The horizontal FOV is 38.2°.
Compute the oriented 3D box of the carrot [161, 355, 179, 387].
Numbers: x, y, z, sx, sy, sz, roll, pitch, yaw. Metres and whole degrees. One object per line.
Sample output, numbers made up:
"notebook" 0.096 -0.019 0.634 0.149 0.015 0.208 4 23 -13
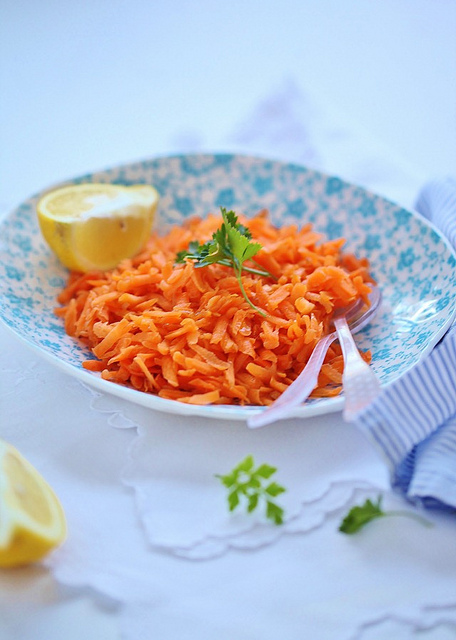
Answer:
"carrot" -0.085 0.077 0.985 0.024 0.009 0.054 -21 40 -7

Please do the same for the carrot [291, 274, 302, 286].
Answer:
"carrot" 0.113 -0.066 1.102 0.016 0.006 0.018 -14 50 31

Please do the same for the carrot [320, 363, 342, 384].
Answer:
"carrot" 0.158 0.080 0.997 0.019 0.009 0.034 -24 39 -9

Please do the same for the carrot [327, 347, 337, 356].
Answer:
"carrot" 0.164 0.051 1.047 0.016 0.020 0.007 2 83 6

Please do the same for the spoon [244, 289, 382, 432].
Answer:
"spoon" 0.148 0.042 0.992 0.057 0.037 0.480 -10 16 33

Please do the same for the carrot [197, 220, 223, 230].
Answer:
"carrot" -0.038 -0.183 1.270 0.035 0.009 0.031 -6 20 10

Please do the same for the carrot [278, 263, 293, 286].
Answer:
"carrot" 0.099 -0.076 1.123 0.015 0.014 0.051 18 54 11

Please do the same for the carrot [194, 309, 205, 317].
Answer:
"carrot" -0.044 -0.011 1.044 0.006 0.005 0.023 41 38 2

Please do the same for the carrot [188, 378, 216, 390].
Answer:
"carrot" -0.036 0.094 0.972 0.031 0.006 0.010 16 10 0

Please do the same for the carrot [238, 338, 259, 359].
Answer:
"carrot" 0.030 0.044 1.010 0.031 0.009 0.029 -9 50 -36

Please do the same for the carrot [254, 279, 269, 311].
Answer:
"carrot" 0.052 -0.040 1.067 0.013 0.044 0.039 -25 58 23

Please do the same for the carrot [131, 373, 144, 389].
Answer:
"carrot" -0.140 0.095 1.003 0.023 0.007 0.019 11 52 2

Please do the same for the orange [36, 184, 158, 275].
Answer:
"orange" -0.282 -0.185 1.324 0.185 0.127 0.253 28 38 20

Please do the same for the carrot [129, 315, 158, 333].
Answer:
"carrot" -0.131 0.006 1.030 0.014 0.034 0.020 -30 57 28

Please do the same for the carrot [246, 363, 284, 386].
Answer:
"carrot" 0.054 0.079 1.009 0.047 0.035 0.015 22 86 33

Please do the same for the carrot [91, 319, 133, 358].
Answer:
"carrot" -0.182 0.034 1.068 0.091 0.017 0.030 -44 70 17

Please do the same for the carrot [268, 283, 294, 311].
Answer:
"carrot" 0.084 -0.039 1.074 0.054 0.012 0.031 -40 28 -25

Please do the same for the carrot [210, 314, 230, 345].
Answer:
"carrot" -0.015 0.016 1.021 0.017 0.008 0.056 10 35 8

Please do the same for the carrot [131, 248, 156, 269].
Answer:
"carrot" -0.162 -0.116 1.256 0.046 0.041 0.009 -23 93 1

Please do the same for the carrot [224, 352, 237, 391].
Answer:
"carrot" 0.004 0.079 0.978 0.015 0.009 0.050 24 30 -12

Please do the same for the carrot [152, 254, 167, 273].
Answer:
"carrot" -0.123 -0.100 1.184 0.016 0.015 0.061 -17 22 -3

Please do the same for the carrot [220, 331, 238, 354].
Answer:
"carrot" 0.003 0.035 1.003 0.022 0.012 0.028 -14 74 -10

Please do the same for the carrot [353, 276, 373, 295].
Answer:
"carrot" 0.229 -0.057 1.136 0.034 0.014 0.030 -13 74 -59

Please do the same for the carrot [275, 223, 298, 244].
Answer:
"carrot" 0.115 -0.167 1.288 0.026 0.020 0.087 30 33 7

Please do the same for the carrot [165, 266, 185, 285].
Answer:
"carrot" -0.089 -0.071 1.093 0.030 0.009 0.028 -23 26 46

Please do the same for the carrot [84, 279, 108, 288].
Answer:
"carrot" -0.239 -0.067 1.189 0.027 0.007 0.026 9 11 44

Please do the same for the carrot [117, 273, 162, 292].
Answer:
"carrot" -0.146 -0.062 1.117 0.068 0.015 0.017 -17 86 -6

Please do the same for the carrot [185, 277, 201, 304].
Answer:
"carrot" -0.056 -0.049 1.081 0.029 0.011 0.037 -12 79 10

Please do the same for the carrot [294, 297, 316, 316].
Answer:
"carrot" 0.120 -0.022 1.051 0.027 0.012 0.027 -17 53 29

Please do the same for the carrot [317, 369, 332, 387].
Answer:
"carrot" 0.148 0.089 1.006 0.020 0.008 0.026 -21 77 4

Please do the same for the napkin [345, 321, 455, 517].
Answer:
"napkin" 0.230 0.142 0.840 0.169 0.216 0.177 10 43 9

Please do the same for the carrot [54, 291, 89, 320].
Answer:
"carrot" -0.280 -0.024 1.169 0.058 0.017 0.049 -4 57 15

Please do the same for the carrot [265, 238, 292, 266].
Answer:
"carrot" 0.095 -0.125 1.191 0.049 0.020 0.047 33 61 15

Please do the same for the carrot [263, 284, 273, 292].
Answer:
"carrot" 0.066 -0.053 1.106 0.014 0.003 0.012 -13 40 -34

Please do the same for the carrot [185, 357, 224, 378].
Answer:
"carrot" -0.035 0.071 0.980 0.056 0.032 0.023 0 42 -2

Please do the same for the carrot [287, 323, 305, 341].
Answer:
"carrot" 0.103 0.020 1.022 0.027 0.009 0.022 3 71 -3

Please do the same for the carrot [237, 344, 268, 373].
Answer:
"carrot" 0.038 0.062 1.022 0.012 0.029 0.044 38 92 22

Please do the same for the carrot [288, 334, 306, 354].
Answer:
"carrot" 0.106 0.039 1.032 0.015 0.038 0.007 25 36 -22

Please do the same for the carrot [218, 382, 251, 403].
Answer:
"carrot" 0.005 0.107 0.965 0.038 0.011 0.032 2 33 -11

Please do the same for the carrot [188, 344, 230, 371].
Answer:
"carrot" -0.027 0.058 0.997 0.079 0.006 0.026 29 44 25

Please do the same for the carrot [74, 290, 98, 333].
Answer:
"carrot" -0.235 -0.014 1.123 0.028 0.012 0.074 -15 43 48

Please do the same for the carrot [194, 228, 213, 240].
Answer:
"carrot" -0.044 -0.159 1.235 0.030 0.009 0.032 5 24 -5

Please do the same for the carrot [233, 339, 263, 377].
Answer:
"carrot" 0.029 0.060 1.008 0.060 0.016 0.018 -49 38 5

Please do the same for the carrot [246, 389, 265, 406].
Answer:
"carrot" 0.041 0.114 0.966 0.030 0.027 0.016 10 49 6

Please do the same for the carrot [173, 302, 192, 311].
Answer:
"carrot" -0.074 -0.022 1.067 0.013 0.005 0.020 -1 19 29

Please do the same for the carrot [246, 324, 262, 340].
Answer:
"carrot" 0.041 0.020 1.037 0.025 0.007 0.021 -3 79 9

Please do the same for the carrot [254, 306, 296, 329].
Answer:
"carrot" 0.078 0.002 1.037 0.079 0.020 0.019 22 67 23

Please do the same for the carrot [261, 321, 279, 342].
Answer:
"carrot" 0.064 0.018 1.020 0.023 0.008 0.030 -17 47 -10

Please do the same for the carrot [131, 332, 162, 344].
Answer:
"carrot" -0.126 0.027 1.025 0.042 0.011 0.017 6 80 13

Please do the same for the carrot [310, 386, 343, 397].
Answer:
"carrot" 0.144 0.105 0.961 0.028 0.008 0.042 -3 3 3

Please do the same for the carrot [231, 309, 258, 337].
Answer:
"carrot" 0.031 0.009 1.028 0.035 0.012 0.044 9 74 -19

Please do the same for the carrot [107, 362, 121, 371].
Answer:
"carrot" -0.178 0.074 1.036 0.013 0.003 0.016 -10 23 -21
